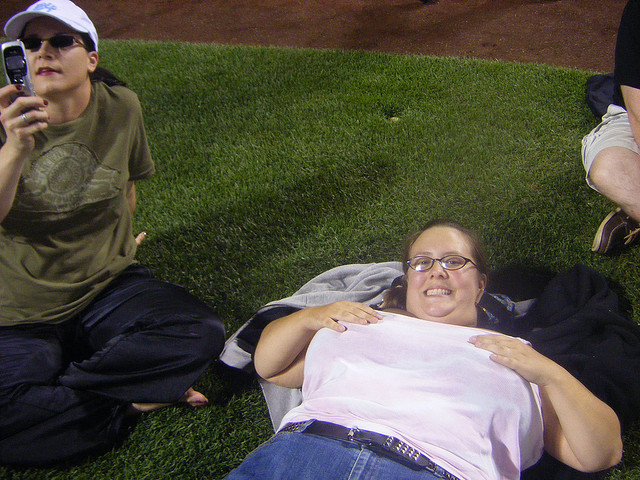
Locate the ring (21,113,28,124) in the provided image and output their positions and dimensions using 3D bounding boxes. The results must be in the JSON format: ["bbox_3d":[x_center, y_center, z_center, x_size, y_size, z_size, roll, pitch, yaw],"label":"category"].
[{"bbox_3d":[-1.714,-0.706,3.235,0.025,0.055,0.028,-26,46,-20],"label":"ring"}]
